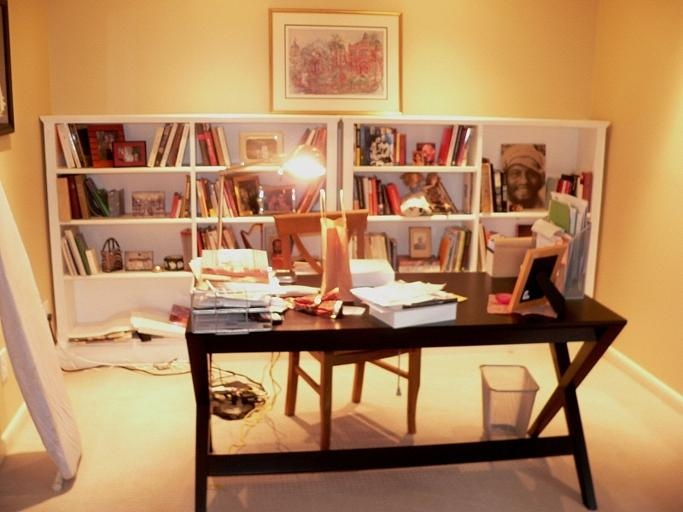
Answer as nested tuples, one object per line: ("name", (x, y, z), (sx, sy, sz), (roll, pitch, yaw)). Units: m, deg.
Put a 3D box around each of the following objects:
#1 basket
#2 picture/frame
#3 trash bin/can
("basket", (-0.530, 0.261, 2.671), (0.382, 0.180, 0.172), (-2, 17, -2))
("picture/frame", (-0.090, -1.564, 4.390), (0.951, 0.662, 0.034), (0, 11, -2))
("trash bin/can", (1.018, 0.910, 3.411), (0.380, 0.429, 0.326), (3, 18, -2))
